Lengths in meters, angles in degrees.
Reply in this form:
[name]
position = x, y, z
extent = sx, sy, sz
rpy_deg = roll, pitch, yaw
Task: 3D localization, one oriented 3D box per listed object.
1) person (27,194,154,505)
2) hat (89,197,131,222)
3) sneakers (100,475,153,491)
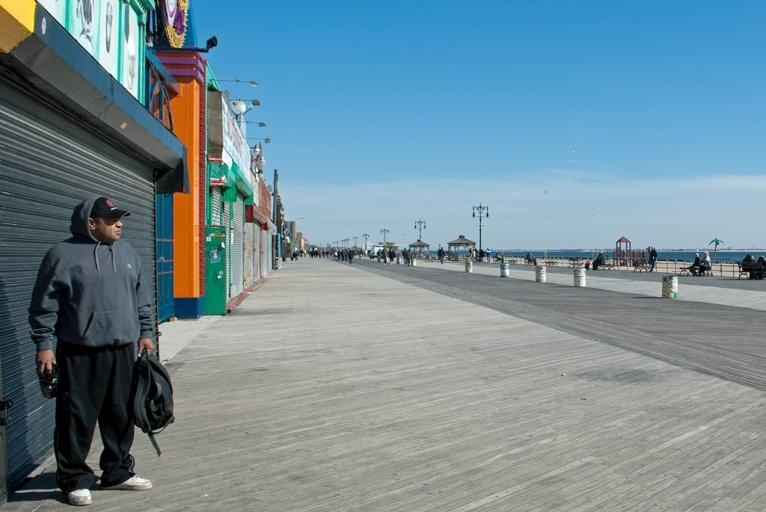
[person]
position = -2.649, 0.835, 5.607
extent = 0.993, 2.757, 0.517
rpy_deg = -1, 5, -23
[hat]
position = -2.494, -0.423, 5.615
extent = 0.323, 0.149, 0.193
rpy_deg = 1, 14, -13
[sneakers]
position = -2.415, 2.139, 5.808
extent = 0.467, 0.163, 0.159
rpy_deg = 0, -1, -5
